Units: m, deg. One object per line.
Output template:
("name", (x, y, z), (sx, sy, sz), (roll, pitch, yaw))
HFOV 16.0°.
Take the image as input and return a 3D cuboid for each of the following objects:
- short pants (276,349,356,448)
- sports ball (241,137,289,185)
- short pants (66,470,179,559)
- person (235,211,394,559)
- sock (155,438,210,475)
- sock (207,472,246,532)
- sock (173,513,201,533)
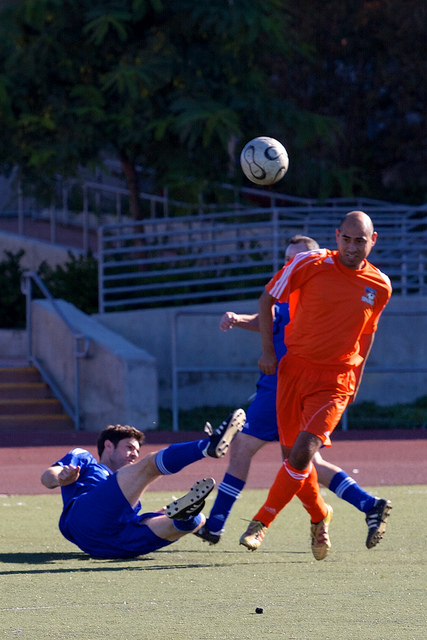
("short pants", (0.618, 0.496, 9.280), (0.467, 0.492, 0.379), (2, 0, 6))
("sports ball", (0.384, -1.173, 11.182), (0.343, 0.283, 0.276), (2, 0, 1))
("short pants", (-0.581, 1.197, 9.342), (0.621, 0.417, 0.241), (2, 0, -7))
("person", (0.645, 0.409, 9.505), (0.866, 1.769, 0.863), (1, 1, 3))
("sock", (-0.192, 0.831, 9.325), (0.346, 0.174, 0.204), (2, 0, -14))
("sock", (-0.009, 1.121, 9.793), (0.113, 0.166, 0.364), (21, -40, -3))
("sock", (-0.147, 1.228, 9.341), (0.114, 0.118, 0.123), (-10, 42, 2))
